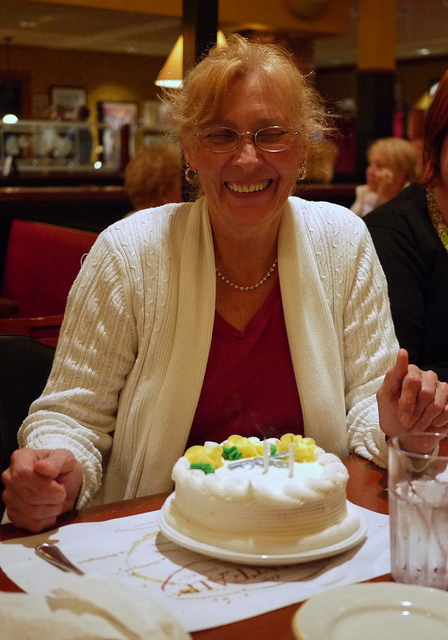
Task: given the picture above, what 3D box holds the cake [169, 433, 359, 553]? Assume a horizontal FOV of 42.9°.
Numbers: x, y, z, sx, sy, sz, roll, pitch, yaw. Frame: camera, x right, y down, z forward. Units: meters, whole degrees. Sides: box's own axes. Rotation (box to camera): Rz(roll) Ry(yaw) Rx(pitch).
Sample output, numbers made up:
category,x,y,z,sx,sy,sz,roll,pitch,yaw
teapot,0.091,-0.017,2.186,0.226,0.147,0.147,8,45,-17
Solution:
category,x,y,z,sx,sy,sz,roll,pitch,yaw
cake,0.063,0.236,0.805,0.268,0.090,0.267,0,2,27
